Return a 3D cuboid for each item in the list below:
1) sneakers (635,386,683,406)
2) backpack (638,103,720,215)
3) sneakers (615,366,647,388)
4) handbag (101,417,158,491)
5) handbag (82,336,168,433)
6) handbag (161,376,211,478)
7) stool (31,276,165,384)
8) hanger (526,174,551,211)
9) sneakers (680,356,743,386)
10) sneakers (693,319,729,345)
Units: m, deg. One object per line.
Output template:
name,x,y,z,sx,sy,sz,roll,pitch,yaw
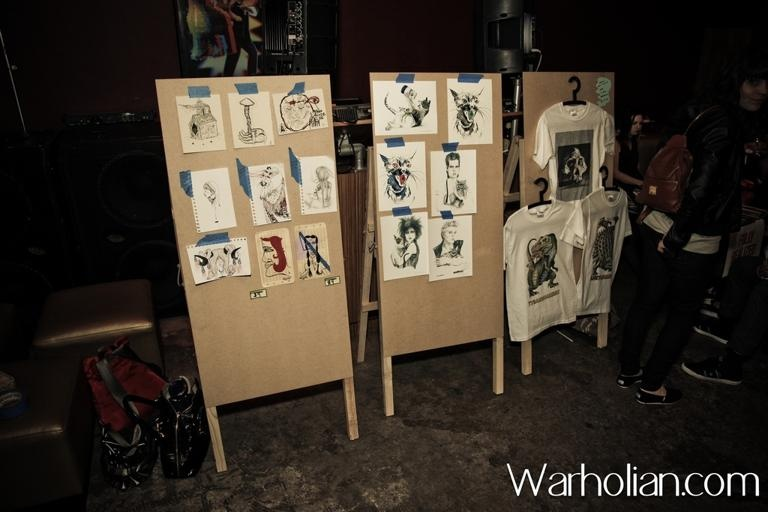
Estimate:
sneakers,1.938,0.973,3.720,0.291,0.121,0.139,-8,20,-5
backpack,1.969,-0.664,3.637,0.336,0.720,0.300,0,16,-46
sneakers,1.783,0.879,3.842,0.234,0.100,0.087,-14,18,-18
handbag,-1.595,1.255,3.295,0.306,0.459,0.156,0,-2,-5
handbag,-1.730,0.867,3.451,0.554,0.193,0.479,27,48,16
handbag,-1.315,1.067,3.427,0.318,0.227,0.630,-1,45,-11
stool,-2.017,0.568,3.830,0.649,0.335,0.676,-7,37,-9
hanger,1.083,-0.450,3.747,0.230,0.240,0.018,-8,24,-11
sneakers,2.388,0.820,3.924,0.434,0.192,0.182,6,56,28
sneakers,2.674,0.591,4.346,0.105,0.130,0.296,-19,30,-24
